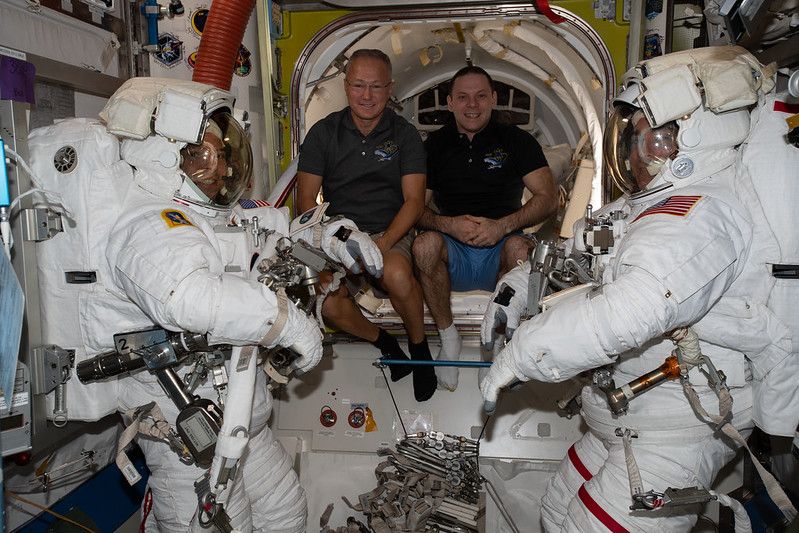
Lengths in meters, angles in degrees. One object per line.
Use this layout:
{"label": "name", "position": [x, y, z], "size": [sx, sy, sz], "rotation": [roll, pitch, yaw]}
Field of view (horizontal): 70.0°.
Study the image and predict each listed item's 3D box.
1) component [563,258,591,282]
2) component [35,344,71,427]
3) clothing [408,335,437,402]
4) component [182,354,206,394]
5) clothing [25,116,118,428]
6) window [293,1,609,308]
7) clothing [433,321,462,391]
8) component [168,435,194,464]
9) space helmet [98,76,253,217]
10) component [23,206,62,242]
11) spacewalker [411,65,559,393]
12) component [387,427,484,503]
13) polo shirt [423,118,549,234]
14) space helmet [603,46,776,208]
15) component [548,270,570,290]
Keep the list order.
{"label": "component", "position": [0.966, 0.013, 3.170], "size": [0.044, 0.081, 0.186], "rotation": [-11, 40, -38]}
{"label": "component", "position": [-1.765, 0.619, 2.925], "size": [0.177, 0.435, 0.143], "rotation": [-1, 2, -31]}
{"label": "clothing", "position": [0.175, 0.781, 4.205], "size": [0.214, 0.472, 0.201], "rotation": [0, 2, 0]}
{"label": "component", "position": [-1.120, 0.569, 3.164], "size": [0.091, 0.145, 0.315], "rotation": [-6, 6, -16]}
{"label": "clothing", "position": [-1.646, -0.120, 2.918], "size": [0.503, 1.234, 0.314], "rotation": [-1, 2, -16]}
{"label": "window", "position": [0.497, -1.003, 5.636], "size": [2.556, 2.394, 2.315], "rotation": [-2, 16, 3]}
{"label": "clothing", "position": [0.366, 0.666, 4.201], "size": [0.161, 0.494, 0.220], "rotation": [1, -25, 17]}
{"label": "component", "position": [-1.141, 0.965, 2.994], "size": [0.144, 0.158, 0.050], "rotation": [11, 17, 20]}
{"label": "space helmet", "position": [-1.262, -0.657, 3.273], "size": [0.752, 0.746, 0.730], "rotation": [2, 2, -3]}
{"label": "component", "position": [-1.776, -0.205, 2.842], "size": [0.162, 0.166, 0.040], "rotation": [-1, 2, -27]}
{"label": "spacewalker", "position": [0.631, -0.385, 4.590], "size": [1.312, 2.480, 1.410], "rotation": [0, 10, 19]}
{"label": "component", "position": [0.254, 1.315, 3.933], "size": [0.570, 0.417, 0.206], "rotation": [10, -22, 7]}
{"label": "polo shirt", "position": [0.657, -0.828, 4.805], "size": [1.100, 0.832, 0.498], "rotation": [2, 16, 22]}
{"label": "space helmet", "position": [1.540, -0.784, 3.125], "size": [0.812, 0.759, 0.760], "rotation": [-9, 10, -2]}
{"label": "component", "position": [0.892, 0.086, 3.196], "size": [0.103, 0.096, 0.029], "rotation": [15, 27, 17]}
